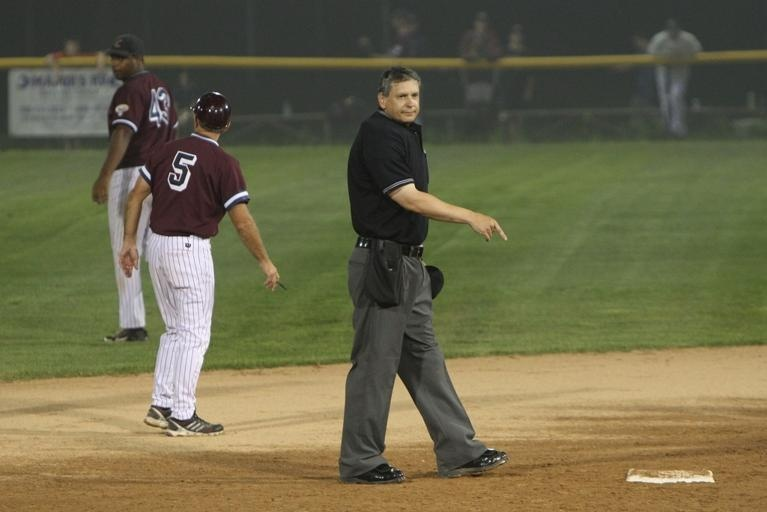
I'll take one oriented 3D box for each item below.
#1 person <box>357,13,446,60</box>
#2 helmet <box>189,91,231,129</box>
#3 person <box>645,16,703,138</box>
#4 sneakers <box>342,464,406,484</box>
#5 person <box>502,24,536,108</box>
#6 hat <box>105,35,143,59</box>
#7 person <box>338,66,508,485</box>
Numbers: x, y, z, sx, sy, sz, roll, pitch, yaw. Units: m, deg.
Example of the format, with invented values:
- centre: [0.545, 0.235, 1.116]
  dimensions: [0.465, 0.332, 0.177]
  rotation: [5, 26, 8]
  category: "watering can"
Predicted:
- centre: [0.151, -3.491, 25.120]
  dimensions: [1.022, 0.721, 2.678]
  rotation: [2, 8, 1]
  category: "person"
- centre: [-1.659, -1.390, 15.388]
  dimensions: [0.330, 0.339, 0.354]
  rotation: [6, 46, -16]
  category: "helmet"
- centre: [3.283, -2.060, 18.678]
  dimensions: [0.608, 1.305, 0.370]
  rotation: [3, 9, 9]
  category: "person"
- centre: [-0.092, 1.942, 14.560]
  dimensions: [0.485, 0.171, 0.190]
  rotation: [-4, -1, 4]
  category: "sneakers"
- centre: [1.548, -2.242, 19.138]
  dimensions: [0.572, 0.887, 0.315]
  rotation: [-1, -3, 39]
  category: "person"
- centre: [-2.737, -2.238, 17.153]
  dimensions: [0.349, 0.170, 0.235]
  rotation: [6, 10, -15]
  category: "hat"
- centre: [0.254, 0.160, 14.563]
  dimensions: [1.221, 3.716, 0.792]
  rotation: [2, 9, -2]
  category: "person"
